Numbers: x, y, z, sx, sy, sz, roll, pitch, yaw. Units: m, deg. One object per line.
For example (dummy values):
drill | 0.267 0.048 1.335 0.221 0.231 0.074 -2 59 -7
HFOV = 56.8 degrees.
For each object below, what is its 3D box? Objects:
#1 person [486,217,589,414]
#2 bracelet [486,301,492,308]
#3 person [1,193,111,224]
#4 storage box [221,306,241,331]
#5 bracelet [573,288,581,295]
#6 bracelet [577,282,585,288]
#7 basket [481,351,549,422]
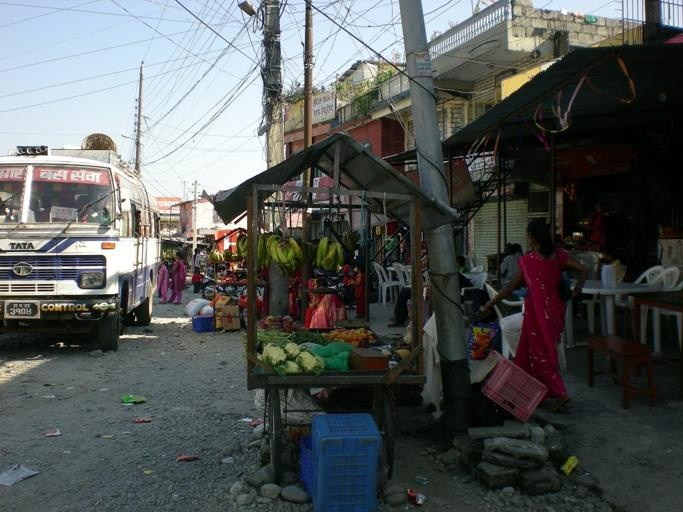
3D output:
person | 2.397 0.727 8.071 1.088 2.393 1.223 1 6 14
bracelet | 1.844 0.598 7.905 0.058 0.058 0.058 17 35 30
person | -4.996 -0.847 11.110 1.805 0.692 0.350 -6 11 -14
storage box | -2.511 1.377 14.346 0.454 0.653 0.631 3 -10 -6
bracelet | 2.966 0.435 7.970 0.098 0.096 0.095 2 -1 -5
bracelet | 2.985 0.361 7.929 0.073 0.070 0.125 -2 -14 12
basket | 1.985 1.549 7.583 0.709 0.459 0.714 35 -2 1
